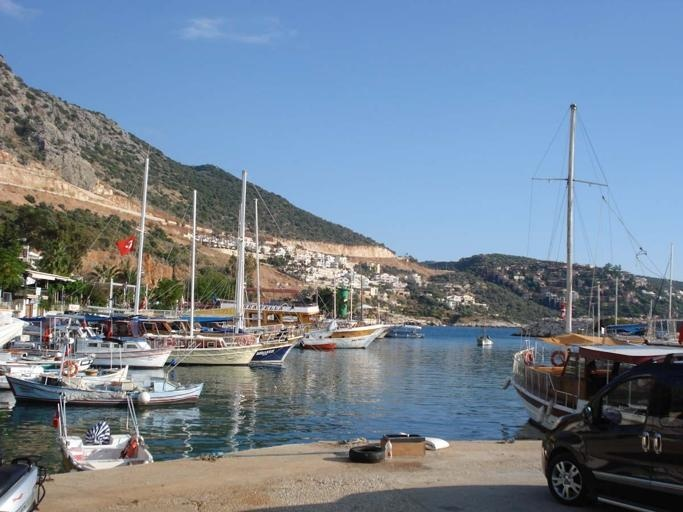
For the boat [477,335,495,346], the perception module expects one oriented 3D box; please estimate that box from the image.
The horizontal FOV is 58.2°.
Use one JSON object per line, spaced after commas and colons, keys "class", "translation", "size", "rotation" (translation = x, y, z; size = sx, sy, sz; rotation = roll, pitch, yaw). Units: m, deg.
{"class": "boat", "translation": [28.674, 16.724, 121.983], "size": [2.812, 1.484, 4.253], "rotation": [0, -8, 4]}
